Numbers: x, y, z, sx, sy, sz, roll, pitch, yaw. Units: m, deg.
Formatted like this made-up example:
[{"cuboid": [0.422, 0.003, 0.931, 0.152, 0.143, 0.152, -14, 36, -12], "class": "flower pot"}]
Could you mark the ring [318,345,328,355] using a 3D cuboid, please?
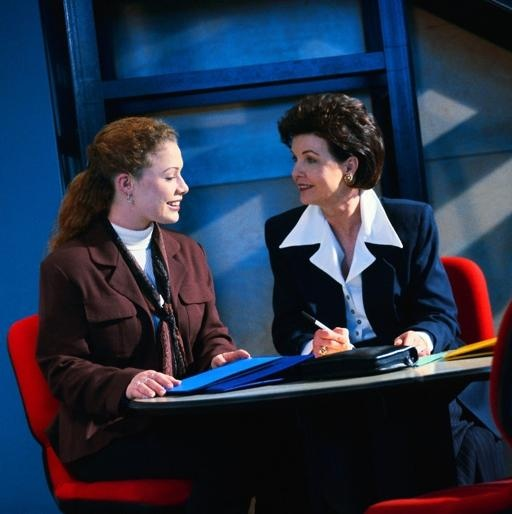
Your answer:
[{"cuboid": [0.191, 0.266, 1.902, 0.025, 0.023, 0.007, 0, -16, 21], "class": "ring"}]

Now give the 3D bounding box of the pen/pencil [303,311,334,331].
[{"cuboid": [0.204, 0.206, 2.149, 0.018, 0.019, 0.153, 25, -12, 40], "class": "pen/pencil"}]
